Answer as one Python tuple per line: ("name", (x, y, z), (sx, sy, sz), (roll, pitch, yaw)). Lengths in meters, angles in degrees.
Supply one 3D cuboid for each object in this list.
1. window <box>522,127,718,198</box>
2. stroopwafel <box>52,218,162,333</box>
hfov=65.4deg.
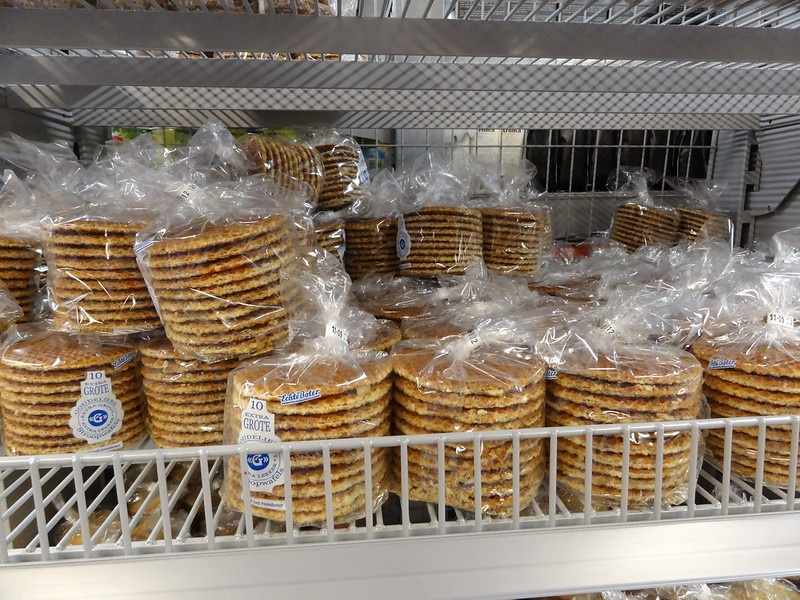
("window", (0.946, -0.577, 2.624), (0.716, 0.431, 0.063), (2, 51, 10))
("stroopwafel", (-0.599, -0.049, 1.269), (0.259, 0.193, 0.214), (0, 5, -26))
